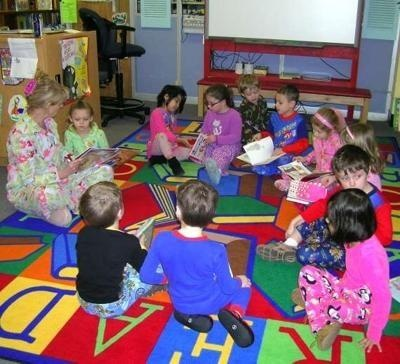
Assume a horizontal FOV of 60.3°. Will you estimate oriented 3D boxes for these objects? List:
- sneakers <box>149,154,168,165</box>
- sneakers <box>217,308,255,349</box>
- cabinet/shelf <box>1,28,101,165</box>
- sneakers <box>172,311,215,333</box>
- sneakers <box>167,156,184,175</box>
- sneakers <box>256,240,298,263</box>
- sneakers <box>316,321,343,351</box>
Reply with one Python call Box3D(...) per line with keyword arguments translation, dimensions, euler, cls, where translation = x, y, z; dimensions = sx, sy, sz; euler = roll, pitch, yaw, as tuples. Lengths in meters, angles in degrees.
Box3D(translation=(-0.400, -0.212, 3.267), dimensions=(0.112, 0.048, 0.111), euler=(-11, 16, -42), cls="sneakers")
Box3D(translation=(0.157, 0.586, 1.448), dimensions=(0.187, 0.108, 0.045), euler=(43, 33, 10), cls="sneakers")
Box3D(translation=(-1.245, -0.694, 2.780), dimensions=(0.405, 1.070, 1.151), euler=(6, 19, 11), cls="cabinet/shelf")
Box3D(translation=(-0.019, 0.607, 1.482), dimensions=(0.136, 0.074, 0.050), euler=(17, -13, 16), cls="sneakers")
Box3D(translation=(-0.228, -0.150, 3.100), dimensions=(0.079, 0.085, 0.213), euler=(-20, 43, -12), cls="sneakers")
Box3D(translation=(0.442, 0.403, 2.007), dimensions=(0.247, 0.089, 0.113), euler=(10, 29, 7), cls="sneakers")
Box3D(translation=(0.517, 0.626, 1.389), dimensions=(0.071, 0.130, 0.056), euler=(21, -5, -28), cls="sneakers")
